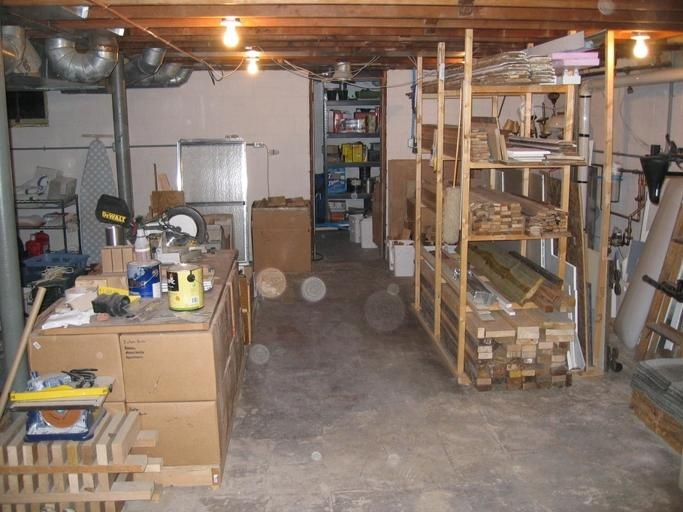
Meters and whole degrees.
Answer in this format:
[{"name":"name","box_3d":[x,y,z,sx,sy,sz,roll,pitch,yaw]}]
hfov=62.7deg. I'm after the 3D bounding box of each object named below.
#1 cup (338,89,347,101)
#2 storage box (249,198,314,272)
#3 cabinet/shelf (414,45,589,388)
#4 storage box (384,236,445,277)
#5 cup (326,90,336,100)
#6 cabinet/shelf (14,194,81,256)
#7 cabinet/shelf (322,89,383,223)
[{"name":"cup","box_3d":[0.011,-2.940,10.322,0.184,0.221,0.187,2,1,0]},{"name":"storage box","box_3d":[-0.961,-0.476,9.261,0.988,1.210,1.195,-2,13,-4]},{"name":"cabinet/shelf","box_3d":[1.520,-0.620,5.983,1.260,3.255,2.582,-4,14,-2]},{"name":"storage box","box_3d":[1.010,-0.038,8.814,0.453,0.635,0.855,2,13,-1]},{"name":"cup","box_3d":[-0.184,-2.973,10.303,0.231,0.180,0.085,-7,15,-17]},{"name":"cabinet/shelf","box_3d":[-4.429,-0.487,8.377,0.921,0.924,0.329,0,13,0]},{"name":"cabinet/shelf","box_3d":[0.214,-1.991,10.847,1.046,3.383,1.488,4,23,6]}]
